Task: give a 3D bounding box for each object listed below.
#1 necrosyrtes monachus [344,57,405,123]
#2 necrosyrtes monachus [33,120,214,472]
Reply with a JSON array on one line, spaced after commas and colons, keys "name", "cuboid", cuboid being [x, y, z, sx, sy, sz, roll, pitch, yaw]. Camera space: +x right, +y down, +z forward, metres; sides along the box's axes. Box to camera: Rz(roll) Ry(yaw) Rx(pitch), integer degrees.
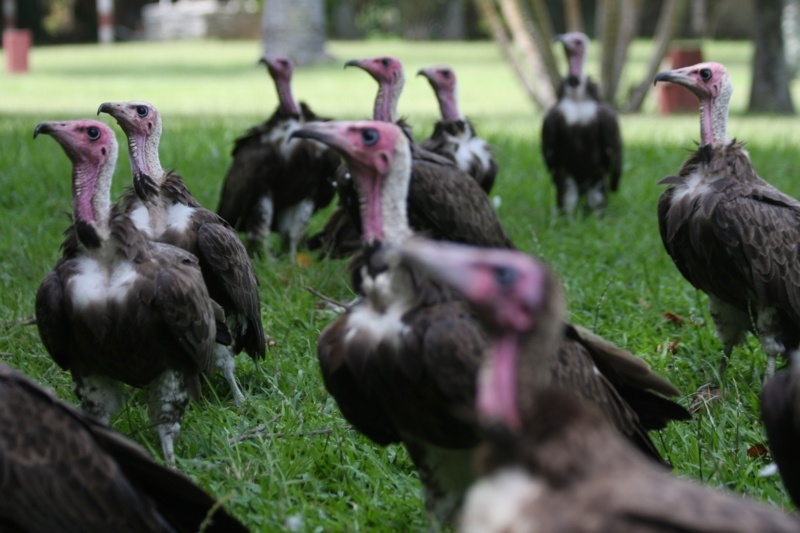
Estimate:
[{"name": "necrosyrtes monachus", "cuboid": [-0.147, -1.303, 7.683, 0.410, 0.453, 0.275, 7, 16, 28]}, {"name": "necrosyrtes monachus", "cuboid": [-1.645, 0.130, 6.137, 1.007, 1.911, 0.553, 2, 14, 10]}]
